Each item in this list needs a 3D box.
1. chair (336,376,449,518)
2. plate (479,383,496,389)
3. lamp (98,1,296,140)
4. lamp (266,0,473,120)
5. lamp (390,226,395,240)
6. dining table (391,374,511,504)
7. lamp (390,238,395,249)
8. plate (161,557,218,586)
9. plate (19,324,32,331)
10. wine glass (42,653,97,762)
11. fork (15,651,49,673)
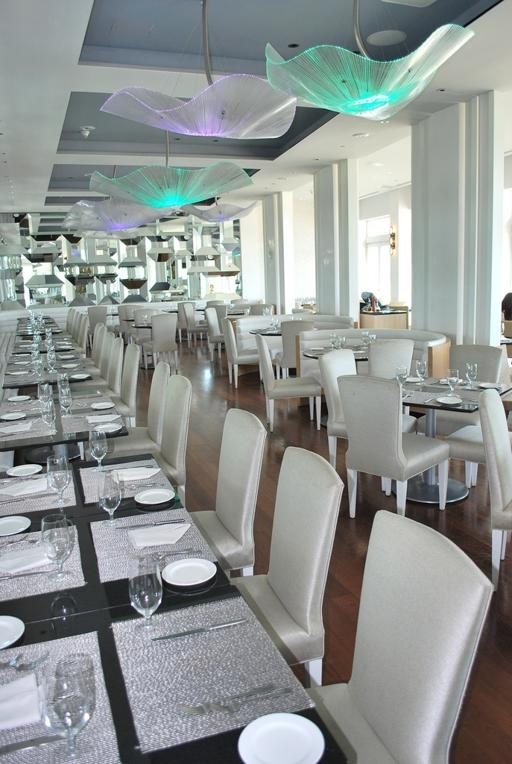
[{"bbox_3d":[0.849,0.407,3.156,0.631,0.989,0.532,-12,10,-44],"label":"chair"},{"bbox_3d":[1.663,0.025,3.515,0.118,0.019,0.120,-7,10,-17],"label":"plate"},{"bbox_3d":[-0.366,-2.082,3.410,1.255,0.501,0.991,-5,7,2],"label":"lamp"},{"bbox_3d":[0.649,-1.840,2.956,1.156,0.219,0.777,-5,7,1],"label":"lamp"},{"bbox_3d":[4.170,-4.540,14.996,0.070,0.303,0.307,-1,11,-15],"label":"lamp"},{"bbox_3d":[1.342,0.424,3.457,0.848,0.834,0.881,2,19,15],"label":"dining table"},{"bbox_3d":[4.179,-4.252,15.011,0.071,0.286,0.269,0,32,-8],"label":"lamp"},{"bbox_3d":[-0.164,0.475,1.226,0.079,0.014,0.082,1,11,1],"label":"plate"},{"bbox_3d":[-5.135,-1.225,10.974,0.346,0.097,0.317,4,14,3],"label":"plate"},{"bbox_3d":[-0.232,0.397,0.622,0.055,0.118,0.080,-7,7,-16],"label":"wine glass"},{"bbox_3d":[-0.410,0.512,0.898,0.039,0.030,0.010,-33,-26,-1],"label":"fork"}]
